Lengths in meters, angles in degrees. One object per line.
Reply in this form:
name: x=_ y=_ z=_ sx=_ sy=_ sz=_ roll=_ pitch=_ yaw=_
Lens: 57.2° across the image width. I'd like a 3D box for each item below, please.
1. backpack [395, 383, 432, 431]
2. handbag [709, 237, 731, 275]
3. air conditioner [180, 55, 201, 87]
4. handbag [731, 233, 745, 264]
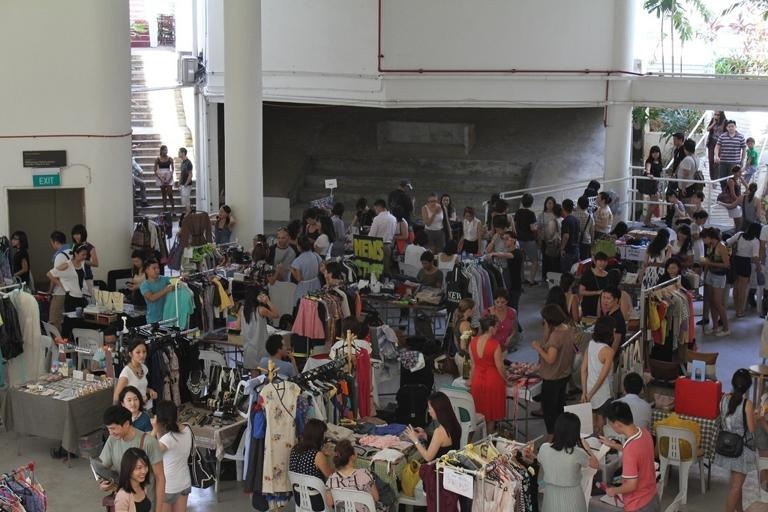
backpack: x=0.422 y=1.989 z=9.895 sx=0.520 sy=0.847 sz=0.409 roll=-2 pitch=28 yaw=3
handbag: x=6.076 y=0.055 z=12.760 sx=0.412 sy=0.828 sz=0.760 roll=-2 pitch=11 yaw=25
air conditioner: x=-5.605 y=-5.311 z=20.211 sx=0.643 sy=0.876 sz=0.825 roll=-1 pitch=9 yaw=-8
handbag: x=6.649 y=-0.139 z=13.214 sx=0.287 sy=0.511 sz=0.483 roll=3 pitch=20 yaw=29
